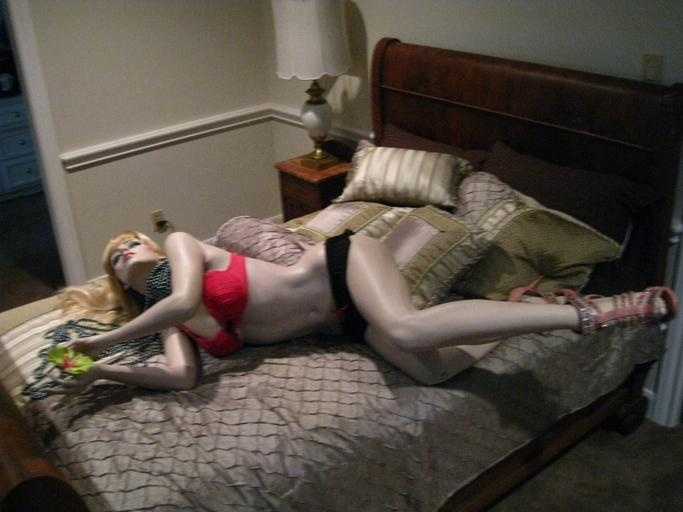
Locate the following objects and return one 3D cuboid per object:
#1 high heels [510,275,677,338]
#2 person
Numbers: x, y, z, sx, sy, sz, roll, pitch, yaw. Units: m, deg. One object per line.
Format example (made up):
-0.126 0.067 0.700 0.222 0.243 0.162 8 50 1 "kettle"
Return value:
0.909 0.166 1.763 0.413 0.189 0.127 -2 39 4 "high heels"
-0.003 0.202 1.950 1.862 0.452 0.559 0 37 -2 "person"
